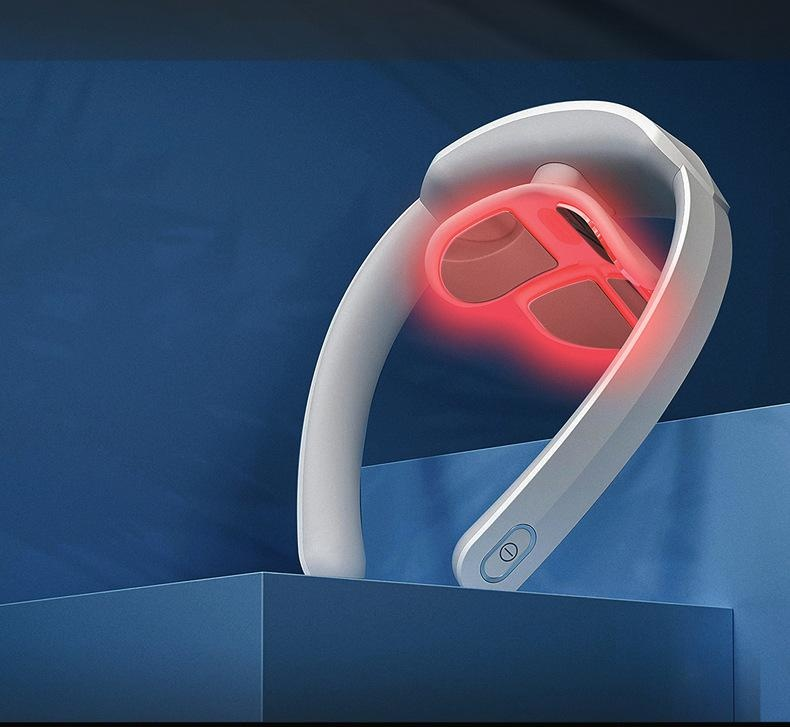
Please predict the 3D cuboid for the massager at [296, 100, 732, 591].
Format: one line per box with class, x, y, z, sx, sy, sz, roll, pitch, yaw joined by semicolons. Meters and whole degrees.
massager;0.127;-0.033;1.359;0.192;0.545;0.702;47;64;-34
